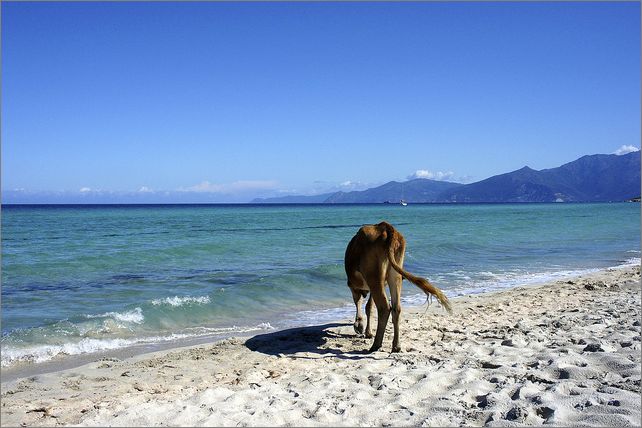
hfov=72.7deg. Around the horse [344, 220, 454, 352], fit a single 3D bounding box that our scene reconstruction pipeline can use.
[{"bbox_3d":[1.448,1.628,10.024,1.093,2.844,2.496,-4,4,-27],"label":"horse"}]
